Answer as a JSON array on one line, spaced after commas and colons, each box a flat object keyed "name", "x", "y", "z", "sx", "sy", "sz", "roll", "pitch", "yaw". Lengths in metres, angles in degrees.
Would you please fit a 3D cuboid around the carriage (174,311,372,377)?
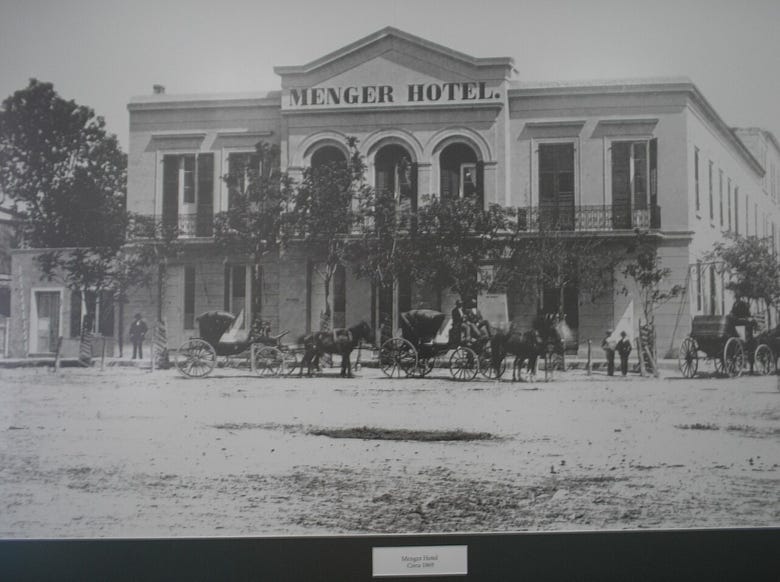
[{"name": "carriage", "x": -1.097, "y": 0.505, "z": 10.949, "sx": 1.828, "sy": 0.766, "sz": 0.715, "roll": 0, "pitch": -1, "yaw": -2}]
